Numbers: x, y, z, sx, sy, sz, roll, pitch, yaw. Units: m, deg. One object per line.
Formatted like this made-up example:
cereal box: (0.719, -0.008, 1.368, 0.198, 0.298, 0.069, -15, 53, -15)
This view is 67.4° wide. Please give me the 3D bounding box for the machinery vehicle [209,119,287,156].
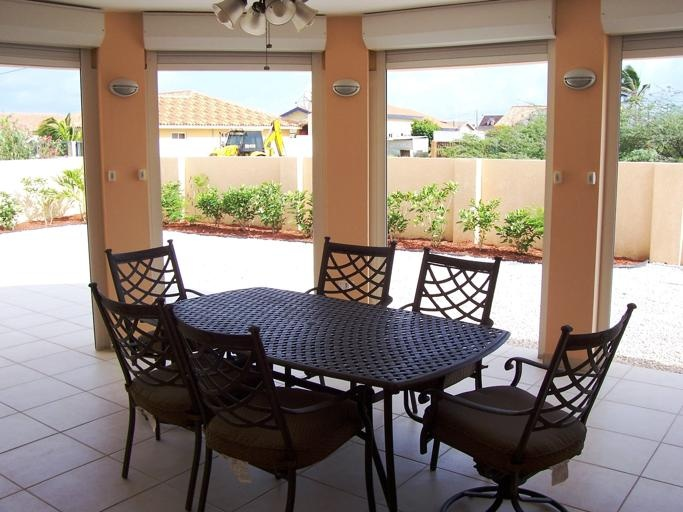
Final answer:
machinery vehicle: (-0.947, -1.264, 5.658, 0.710, 0.376, 0.415, 6, 24, 10)
